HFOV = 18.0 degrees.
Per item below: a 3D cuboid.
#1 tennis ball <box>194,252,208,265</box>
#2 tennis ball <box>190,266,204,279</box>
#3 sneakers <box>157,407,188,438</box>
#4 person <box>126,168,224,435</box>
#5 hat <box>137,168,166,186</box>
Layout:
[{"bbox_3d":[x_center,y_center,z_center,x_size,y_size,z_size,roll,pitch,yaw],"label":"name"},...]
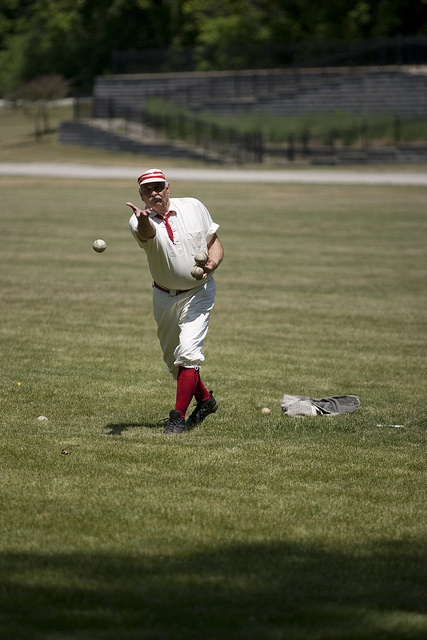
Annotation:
[{"bbox_3d":[-0.085,-0.370,8.267,0.075,0.078,0.091,0,5,-3],"label":"tennis ball"},{"bbox_3d":[-0.103,-0.286,8.180,0.067,0.079,0.069,6,11,-1],"label":"tennis ball"},{"bbox_3d":[-0.264,0.660,8.564,0.148,0.192,0.414,0,5,9],"label":"sneakers"},{"bbox_3d":[-0.227,-0.112,8.438,0.629,1.645,0.662,-1,5,-13],"label":"person"},{"bbox_3d":[-0.375,-0.870,8.245,0.158,0.101,0.202,0,5,-3],"label":"hat"}]
